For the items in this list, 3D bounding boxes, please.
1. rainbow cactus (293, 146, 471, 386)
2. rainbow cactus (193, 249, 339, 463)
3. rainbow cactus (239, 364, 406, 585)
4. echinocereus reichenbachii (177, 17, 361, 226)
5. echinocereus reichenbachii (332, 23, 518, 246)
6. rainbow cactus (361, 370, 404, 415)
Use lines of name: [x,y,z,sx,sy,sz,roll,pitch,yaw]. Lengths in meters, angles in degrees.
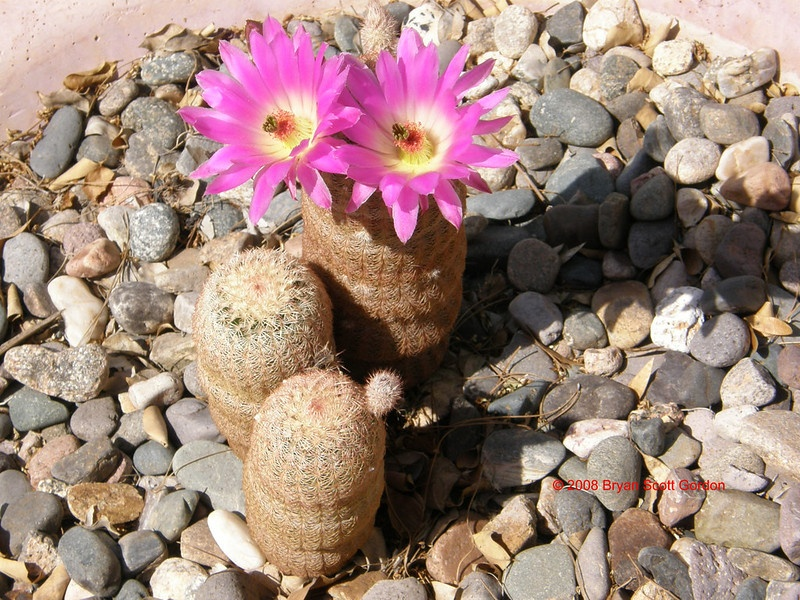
rainbow cactus: [-0.015,-0.186,3.198,0.621,0.959,0.676,-9,40,-11]
rainbow cactus: [-0.543,0.251,2.922,0.411,0.666,0.405,-9,28,-22]
rainbow cactus: [-0.304,0.621,2.845,0.520,0.825,0.514,-27,52,-36]
echinocereus reichenbachii: [-0.410,-0.675,2.546,0.644,0.314,0.653,-18,41,-20]
echinocereus reichenbachii: [0.051,-0.579,2.641,0.586,0.660,0.261,-19,35,17]
rainbow cactus: [-0.060,0.345,2.669,0.144,0.081,0.162,10,81,17]
